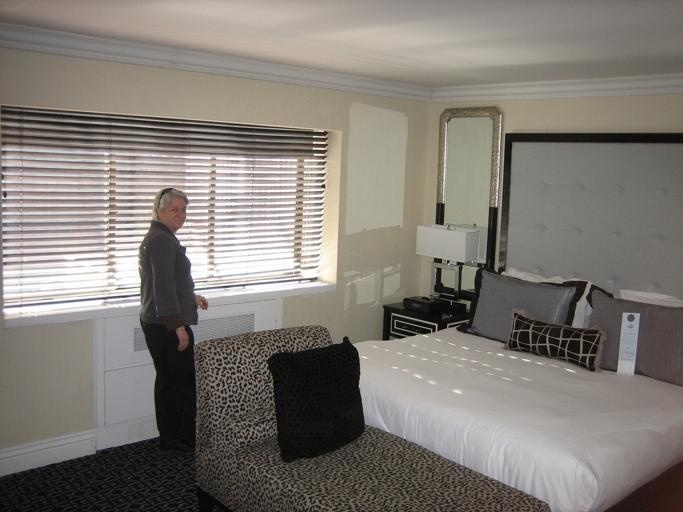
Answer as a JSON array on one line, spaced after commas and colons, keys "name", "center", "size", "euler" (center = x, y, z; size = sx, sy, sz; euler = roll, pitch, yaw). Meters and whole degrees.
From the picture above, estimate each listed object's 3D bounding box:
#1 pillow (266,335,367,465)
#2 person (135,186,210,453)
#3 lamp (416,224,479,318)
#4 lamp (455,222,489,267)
[{"name": "pillow", "center": [-0.102, 0.788, 2.694], "size": [0.594, 0.596, 0.221], "euler": [-2, -6, -41]}, {"name": "person", "center": [-1.229, 0.481, 3.495], "size": [0.403, 1.894, 0.360], "euler": [-7, 13, -19]}, {"name": "lamp", "center": [1.079, 0.137, 4.821], "size": [0.341, 1.086, 0.844], "euler": [-5, 8, -44]}, {"name": "lamp", "center": [1.220, -0.119, 4.828], "size": [0.387, 0.384, 0.380], "euler": [-9, 13, -40]}]
